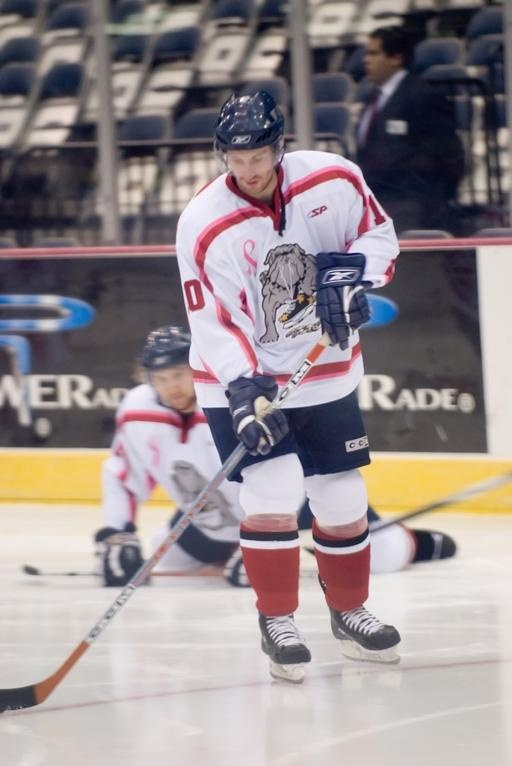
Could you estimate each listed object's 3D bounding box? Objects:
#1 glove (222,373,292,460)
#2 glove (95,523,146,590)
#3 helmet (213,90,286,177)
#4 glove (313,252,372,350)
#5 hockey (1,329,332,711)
[{"bbox_3d":[-0.002,0.072,2.087,0.122,0.174,0.148,-5,8,-3],"label":"glove"},{"bbox_3d":[-0.435,0.538,2.964,0.152,0.182,0.175,3,50,-11],"label":"glove"},{"bbox_3d":[-0.019,-0.574,2.117,0.156,0.171,0.163,-5,8,-2],"label":"helmet"},{"bbox_3d":[0.180,-0.192,2.167,0.141,0.195,0.079,-1,1,8],"label":"glove"},{"bbox_3d":[-0.230,0.386,2.605,1.136,0.118,0.208,-45,32,-7],"label":"hockey"}]
